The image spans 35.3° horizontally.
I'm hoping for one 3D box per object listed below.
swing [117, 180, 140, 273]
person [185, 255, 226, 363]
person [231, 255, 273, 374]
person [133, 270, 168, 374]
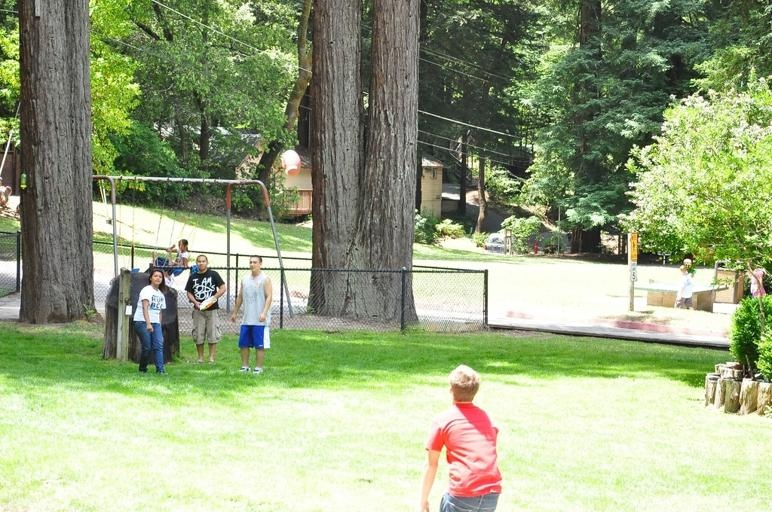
[{"bbox_3d":[-11.045,-1.225,51.812,0.940,4.040,0.887,2,-1,9],"label":"swing"},{"bbox_3d":[-4.758,1.348,31.817,0.838,2.834,1.131,0,0,-4],"label":"person"},{"bbox_3d":[-3.420,1.476,30.864,1.016,2.948,0.716,-1,-3,20],"label":"person"},{"bbox_3d":[-5.972,1.681,30.699,0.770,2.665,0.766,0,-2,-15],"label":"person"}]
